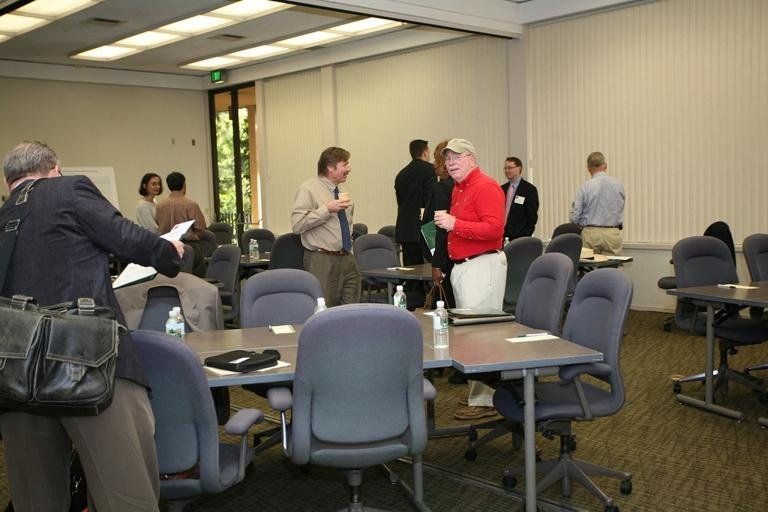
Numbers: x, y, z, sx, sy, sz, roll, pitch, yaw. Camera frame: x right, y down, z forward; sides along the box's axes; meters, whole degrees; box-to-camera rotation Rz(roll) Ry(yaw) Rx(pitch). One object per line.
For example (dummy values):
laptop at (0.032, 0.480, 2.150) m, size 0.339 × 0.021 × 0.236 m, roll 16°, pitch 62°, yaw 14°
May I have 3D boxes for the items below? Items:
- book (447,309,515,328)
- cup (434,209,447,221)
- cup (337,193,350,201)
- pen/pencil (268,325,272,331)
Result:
book at (0.669, 0.431, 4.337) m, size 0.466 × 0.072 × 0.246 m, roll -3°, pitch 7°, yaw -12°
cup at (0.428, -0.321, 4.673) m, size 0.098 × 0.074 × 0.099 m, roll 0°, pitch -3°, yaw 0°
cup at (-0.368, -0.537, 5.555) m, size 0.085 × 0.091 × 0.085 m, roll -1°, pitch 0°, yaw 0°
pen/pencil at (-0.794, 0.507, 4.260) m, size 0.027 × 0.035 × 0.029 m, roll 1°, pitch -5°, yaw -18°
